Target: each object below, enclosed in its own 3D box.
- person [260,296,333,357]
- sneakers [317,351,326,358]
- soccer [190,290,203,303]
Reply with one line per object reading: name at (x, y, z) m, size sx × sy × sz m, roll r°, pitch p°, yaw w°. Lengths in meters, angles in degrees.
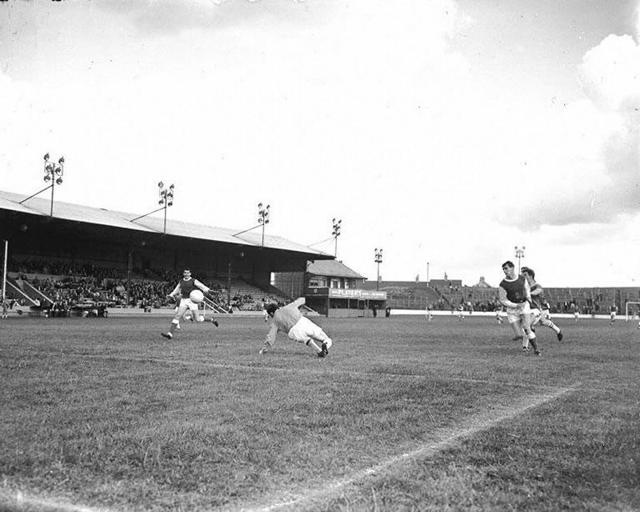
person at (-0.521, 1.432, 13.420) m, size 1.289 × 1.155 × 2.181 m, roll -1°, pitch -2°, yaw -5°
sneakers at (0.045, 1.886, 12.491) m, size 0.146 × 0.110 × 0.277 m, roll -1°, pitch -2°, yaw 1°
soccer at (-3.292, 1.075, 17.609) m, size 0.315 × 0.320 × 0.326 m, roll 38°, pitch 19°, yaw -27°
